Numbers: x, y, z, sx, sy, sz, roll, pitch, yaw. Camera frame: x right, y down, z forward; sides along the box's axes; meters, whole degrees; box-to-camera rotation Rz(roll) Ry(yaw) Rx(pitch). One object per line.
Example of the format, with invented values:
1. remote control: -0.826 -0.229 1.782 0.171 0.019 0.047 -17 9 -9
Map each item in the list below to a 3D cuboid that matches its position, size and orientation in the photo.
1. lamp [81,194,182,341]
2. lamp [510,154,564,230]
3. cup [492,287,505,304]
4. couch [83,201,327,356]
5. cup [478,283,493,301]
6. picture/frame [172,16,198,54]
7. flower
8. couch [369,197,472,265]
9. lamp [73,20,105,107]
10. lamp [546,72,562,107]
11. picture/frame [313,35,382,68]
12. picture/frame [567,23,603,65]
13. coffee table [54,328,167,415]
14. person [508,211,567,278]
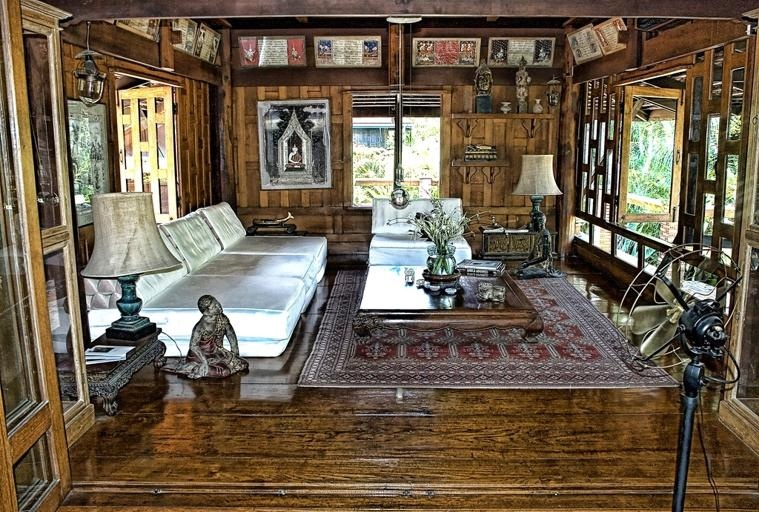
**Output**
1. lamp: -1.792 0.095 3.738 0.631 1.105 0.424 -10 17 -26
2. lamp: 2.082 -0.850 6.833 0.565 0.965 0.854 2 15 17
3. cup: 1.055 0.340 4.572 0.134 0.115 0.135 1 -1 0
4. couch: -1.557 0.091 5.797 1.621 0.839 3.181 4 14 0
5. cup: 0.942 0.317 4.645 0.149 0.128 0.152 2 -4 0
6. picture/frame: -2.327 -2.635 6.193 0.017 0.351 0.561 -9 32 -44
7. flower: 0.531 -0.304 6.420 1.305 0.878 1.067 0 4 2
8. couch: 0.534 -0.299 6.994 1.575 0.986 0.986 0 5 0
9. lamp: -2.368 -1.571 4.209 0.260 0.579 0.280 23 23 35
10. lamp: 2.567 -2.426 7.571 0.235 0.472 0.155 -1 15 5
11. picture/frame: -0.454 -2.910 7.363 0.926 0.419 0.127 -2 15 -2
12. picture/frame: 2.693 -2.761 6.741 0.127 0.405 0.498 -16 5 -25
13. coffee table: -1.855 0.810 3.639 0.526 0.167 0.773 0 12 4
14. person: 2.258 -0.215 7.105 0.990 0.893 0.855 -3 15 -1
